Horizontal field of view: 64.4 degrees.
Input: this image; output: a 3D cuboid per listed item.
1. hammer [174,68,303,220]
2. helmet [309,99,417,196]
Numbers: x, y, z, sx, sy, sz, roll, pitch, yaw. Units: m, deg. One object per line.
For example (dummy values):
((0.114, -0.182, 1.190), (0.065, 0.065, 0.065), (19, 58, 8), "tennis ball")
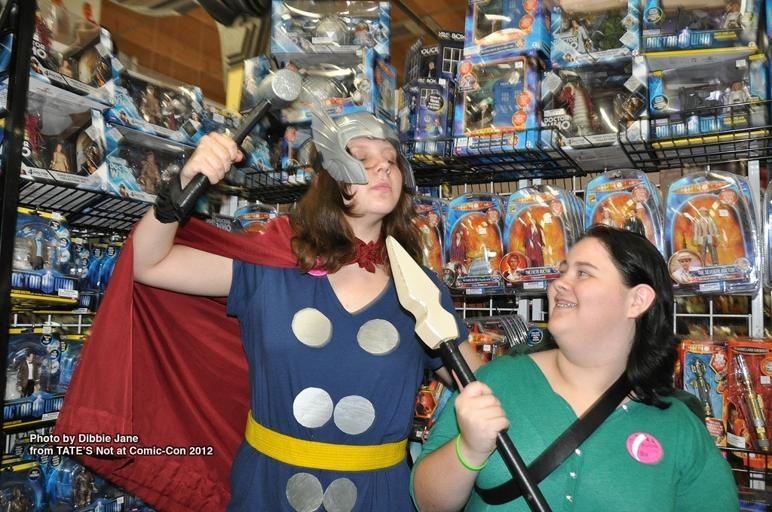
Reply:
((-0.583, -0.456, 2.431), (0.173, 0.771, 0.147), (29, -24, 15), "hammer")
((-0.136, -0.495, 2.871), (0.384, 0.388, 0.433), (-8, 4, -30), "helmet")
